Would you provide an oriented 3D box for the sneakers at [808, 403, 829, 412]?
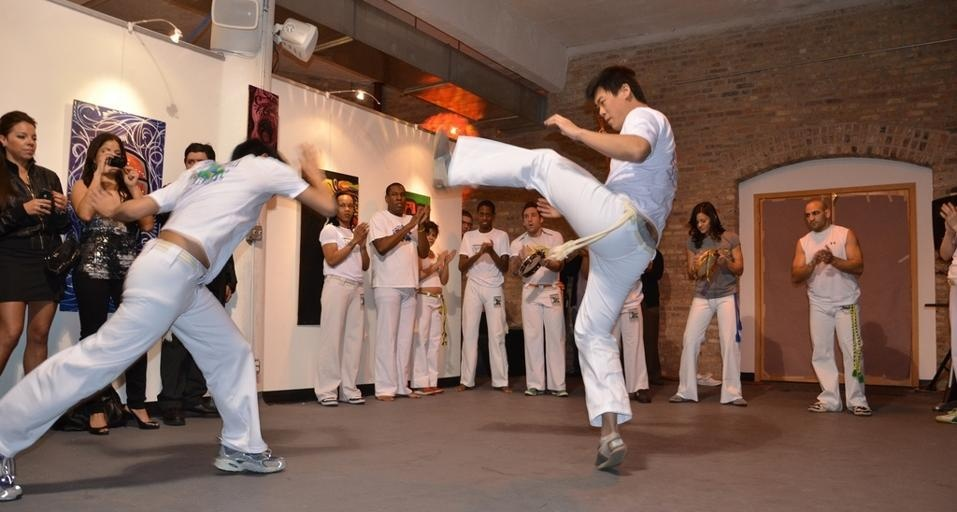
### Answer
[{"bbox_3d":[4.457,1.992,8.661,0.201,0.076,0.123,6,-1,9],"label":"sneakers"}]

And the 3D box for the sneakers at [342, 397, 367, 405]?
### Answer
[{"bbox_3d":[-1.682,1.935,8.800,0.259,0.094,0.095,-6,-9,33],"label":"sneakers"}]

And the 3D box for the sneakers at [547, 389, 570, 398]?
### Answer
[{"bbox_3d":[1.141,2.006,9.591,0.095,0.096,0.248,9,-15,-37],"label":"sneakers"}]

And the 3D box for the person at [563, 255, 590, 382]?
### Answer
[{"bbox_3d":[1.588,0.917,11.046,0.487,1.693,1.278,3,-9,-4],"label":"person"}]

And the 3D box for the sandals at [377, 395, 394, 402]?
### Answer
[{"bbox_3d":[-1.291,1.945,8.982,0.243,0.053,0.256,0,4,-7],"label":"sandals"}]

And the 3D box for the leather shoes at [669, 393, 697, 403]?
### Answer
[{"bbox_3d":[2.813,1.994,9.241,0.403,0.151,0.128,3,-5,0],"label":"leather shoes"}]

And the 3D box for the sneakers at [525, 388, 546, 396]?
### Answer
[{"bbox_3d":[0.817,1.993,9.615,0.286,0.093,0.102,14,-18,-40],"label":"sneakers"}]

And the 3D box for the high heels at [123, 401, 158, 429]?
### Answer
[{"bbox_3d":[-3.821,1.799,7.465,0.549,0.198,0.200,4,1,35],"label":"high heels"}]

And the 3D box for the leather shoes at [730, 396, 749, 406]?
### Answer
[{"bbox_3d":[3.531,1.984,8.964,0.260,0.080,0.164,1,5,0],"label":"leather shoes"}]

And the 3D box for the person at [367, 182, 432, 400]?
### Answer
[{"bbox_3d":[-1.183,0.488,9.317,0.711,2.938,0.939,0,6,-9],"label":"person"}]

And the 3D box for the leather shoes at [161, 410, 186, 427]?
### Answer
[{"bbox_3d":[-3.482,1.857,7.513,0.344,0.126,0.127,-8,-6,39],"label":"leather shoes"}]

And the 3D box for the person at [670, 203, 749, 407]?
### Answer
[{"bbox_3d":[3.284,0.652,9.236,0.963,2.749,0.795,3,6,16],"label":"person"}]

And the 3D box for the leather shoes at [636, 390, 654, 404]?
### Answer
[{"bbox_3d":[2.300,1.976,9.222,0.142,0.111,0.283,-2,-11,2],"label":"leather shoes"}]

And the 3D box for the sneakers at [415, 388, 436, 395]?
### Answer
[{"bbox_3d":[-0.791,1.969,9.572,0.286,0.108,0.104,-3,-5,25],"label":"sneakers"}]

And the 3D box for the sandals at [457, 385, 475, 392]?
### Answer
[{"bbox_3d":[-0.230,2.009,9.990,0.085,0.105,0.268,-9,-23,29],"label":"sandals"}]

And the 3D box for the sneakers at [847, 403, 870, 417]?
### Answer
[{"bbox_3d":[4.874,1.983,8.450,0.114,0.085,0.230,1,-7,-1],"label":"sneakers"}]

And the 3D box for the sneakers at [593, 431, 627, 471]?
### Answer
[{"bbox_3d":[1.248,1.841,6.255,0.203,0.175,0.426,-10,-28,-10],"label":"sneakers"}]
